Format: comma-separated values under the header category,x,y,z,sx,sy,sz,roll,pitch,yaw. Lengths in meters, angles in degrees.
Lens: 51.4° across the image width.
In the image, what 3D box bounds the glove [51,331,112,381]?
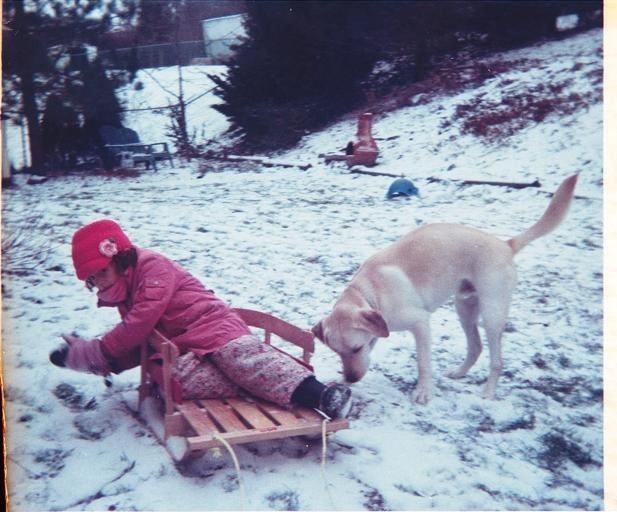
category,x,y,z,sx,sy,sz,roll,pitch,yaw
glove,-1.160,0.515,3.285,0.439,0.162,0.138,8,7,35

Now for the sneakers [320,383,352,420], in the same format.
category,x,y,z,sx,sy,sz,roll,pitch,yaw
sneakers,0.134,0.694,3.072,0.124,0.149,0.088,-19,18,-38

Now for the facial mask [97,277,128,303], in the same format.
category,x,y,z,sx,sy,sz,roll,pitch,yaw
facial mask,-1.047,0.198,3.422,0.140,0.097,0.158,15,-33,-18

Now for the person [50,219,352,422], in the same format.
category,x,y,z,sx,sy,sz,roll,pitch,yaw
person,-0.504,0.314,3.402,1.894,0.753,0.600,16,18,30

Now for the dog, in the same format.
category,x,y,z,sx,sy,sz,roll,pitch,yaw
dog,0.779,0.272,3.752,1.475,1.100,0.596,-14,16,-25
